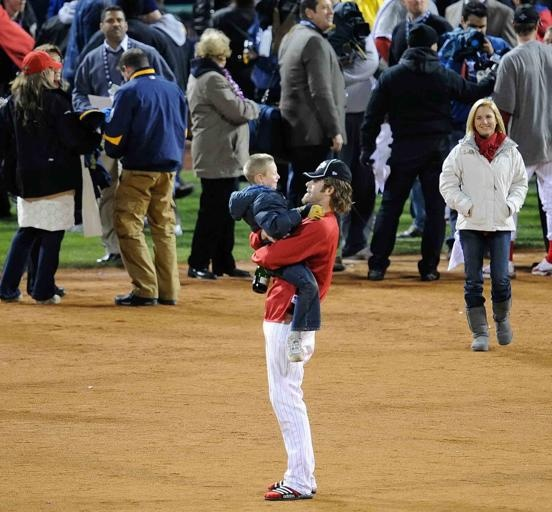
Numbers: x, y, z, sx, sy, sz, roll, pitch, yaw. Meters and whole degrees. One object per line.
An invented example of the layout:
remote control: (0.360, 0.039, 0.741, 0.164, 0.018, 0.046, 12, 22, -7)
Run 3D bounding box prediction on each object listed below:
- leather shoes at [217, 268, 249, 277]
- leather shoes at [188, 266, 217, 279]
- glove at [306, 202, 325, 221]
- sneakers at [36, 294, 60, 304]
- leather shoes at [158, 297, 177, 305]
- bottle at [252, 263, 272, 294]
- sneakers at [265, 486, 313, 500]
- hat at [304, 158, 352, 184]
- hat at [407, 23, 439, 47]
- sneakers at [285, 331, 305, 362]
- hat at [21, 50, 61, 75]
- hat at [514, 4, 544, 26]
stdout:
leather shoes: (-0.449, 0.172, 13.485, 0.361, 0.142, 0.118, 5, 3, -5)
leather shoes: (-0.775, 0.165, 13.271, 0.305, 0.122, 0.113, 2, 6, 17)
glove: (0.261, -0.281, 7.912, 0.091, 0.091, 0.198, 7, 15, 24)
sneakers: (-2.111, 0.404, 11.888, 0.083, 0.094, 0.231, 6, -12, 34)
leather shoes: (-1.027, 0.417, 12.018, 0.182, 0.083, 0.060, 9, 1, 8)
bottle: (-0.089, 0.152, 8.078, 0.108, 0.218, 0.235, 0, 14, -1)
sneakers: (0.076, 1.445, 7.889, 0.287, 0.107, 0.102, 3, 0, -5)
hat: (0.341, -0.541, 8.059, 0.268, 0.139, 0.158, 3, 7, 0)
hat: (1.457, -2.182, 12.604, 0.202, 0.222, 0.277, 23, 49, 23)
sneakers: (0.127, 0.540, 7.783, 0.112, 0.187, 0.104, -2, 14, -9)
hat: (-2.107, -1.708, 11.416, 0.289, 0.150, 0.207, -20, 43, -36)
hat: (2.572, -2.393, 12.682, 0.285, 0.196, 0.448, 6, 24, 15)
